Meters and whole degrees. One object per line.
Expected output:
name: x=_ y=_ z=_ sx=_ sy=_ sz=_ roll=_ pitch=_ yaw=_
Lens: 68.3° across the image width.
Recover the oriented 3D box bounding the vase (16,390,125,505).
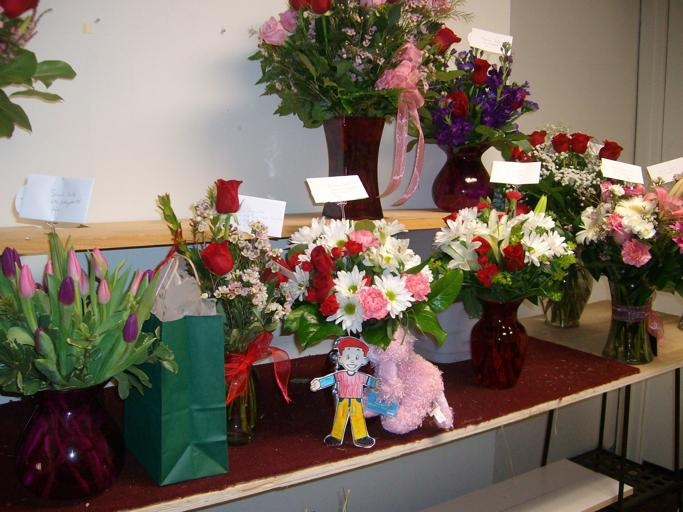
vase: x=-0.588 y=0.393 z=1.161 sx=0.201 sy=0.243 sz=0.214 roll=4 pitch=4 yaw=-13

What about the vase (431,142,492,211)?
vase: x=0.381 y=-0.247 z=1.597 sx=0.168 sy=0.226 sz=0.191 roll=3 pitch=5 yaw=27

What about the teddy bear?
teddy bear: x=0.168 y=0.304 z=1.318 sx=0.204 sy=0.313 sz=0.187 roll=5 pitch=19 yaw=35

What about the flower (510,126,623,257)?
flower: x=0.788 y=-0.225 z=1.851 sx=0.398 sy=0.470 sz=0.402 roll=-9 pitch=11 yaw=-40

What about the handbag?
handbag: x=-0.358 y=0.261 z=1.100 sx=0.201 sy=0.635 sz=0.414 roll=-1 pitch=6 yaw=-27
